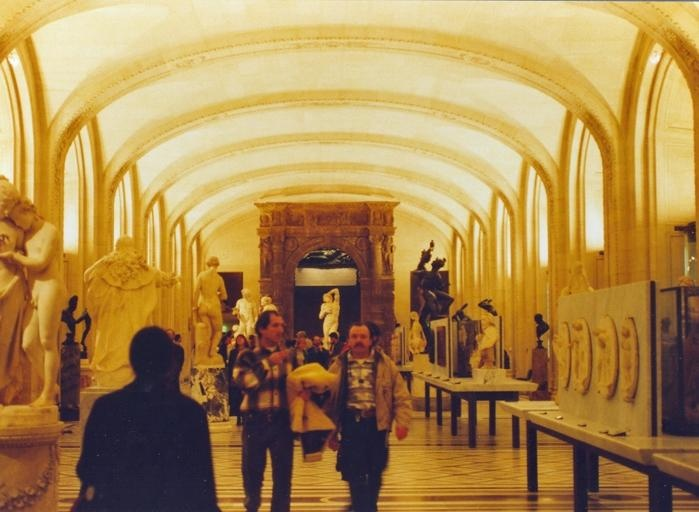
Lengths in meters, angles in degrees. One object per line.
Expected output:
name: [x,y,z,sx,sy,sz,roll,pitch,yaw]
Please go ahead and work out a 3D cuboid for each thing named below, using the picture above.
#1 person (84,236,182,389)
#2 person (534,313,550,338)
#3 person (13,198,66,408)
person: [-3.187,0.820,12.019,1.133,2.090,0.599,4,1,-19]
person: [4.666,1.658,20.178,0.286,0.636,1.031,-3,-14,11]
person: [-3.032,0.464,8.119,0.456,1.977,0.628,-3,-14,13]
